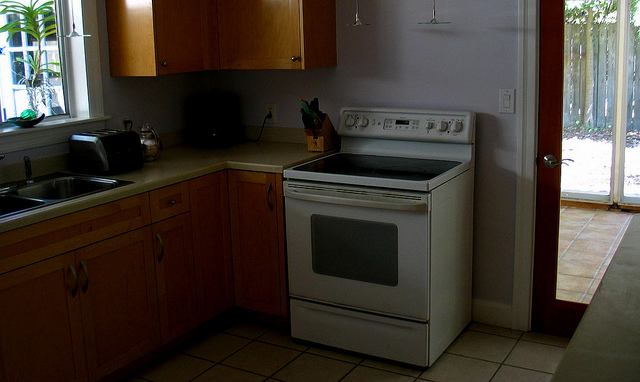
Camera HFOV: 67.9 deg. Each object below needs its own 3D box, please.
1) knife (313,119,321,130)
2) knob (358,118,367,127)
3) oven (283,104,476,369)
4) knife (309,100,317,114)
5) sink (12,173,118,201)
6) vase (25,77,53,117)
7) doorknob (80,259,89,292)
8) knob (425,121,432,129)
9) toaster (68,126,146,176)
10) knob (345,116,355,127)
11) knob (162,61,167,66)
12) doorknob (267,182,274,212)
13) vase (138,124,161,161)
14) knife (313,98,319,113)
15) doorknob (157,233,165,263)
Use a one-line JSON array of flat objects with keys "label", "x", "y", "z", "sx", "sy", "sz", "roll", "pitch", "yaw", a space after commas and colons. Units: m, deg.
[{"label": "knife", "x": -0.024, "y": -0.506, "z": 3.600, "sx": 0.046, "sy": 0.086, "sz": 0.045, "roll": -19, "pitch": -15, "yaw": -8}, {"label": "knob", "x": 0.313, "y": -0.509, "z": 3.562, "sx": 0.056, "sy": 0.101, "sz": 0.060, "roll": 0, "pitch": 0, "yaw": -10}, {"label": "oven", "x": 0.438, "y": 0.243, "z": 3.469, "sx": 1.124, "sy": 1.579, "sz": 1.062, "roll": 4, "pitch": 13, "yaw": 31}, {"label": "knife", "x": -0.054, "y": -0.646, "z": 3.663, "sx": 0.088, "sy": 0.109, "sz": 0.044, "roll": -2, "pitch": -1, "yaw": 34}, {"label": "sink", "x": -1.610, "y": -0.006, "z": 3.122, "sx": 0.633, "sy": 0.145, "sz": 0.283, "roll": -1, "pitch": 19, "yaw": -3}, {"label": "vase", "x": -1.990, "y": -0.667, "z": 3.376, "sx": 0.169, "sy": 0.271, "sz": 0.117, "roll": -10, "pitch": 20, "yaw": -27}, {"label": "doorknob", "x": -1.393, "y": 0.504, "z": 2.808, "sx": 0.044, "sy": 0.195, "sz": 0.037, "roll": -10, "pitch": 20, "yaw": -28}, {"label": "knob", "x": 0.768, "y": -0.465, "z": 3.386, "sx": 0.052, "sy": 0.046, "sz": 0.022, "roll": 15, "pitch": 23, "yaw": 39}, {"label": "toaster", "x": -1.502, "y": -0.259, "z": 3.364, "sx": 0.333, "sy": 0.268, "sz": 0.436, "roll": 2, "pitch": 14, "yaw": 22}, {"label": "knob", "x": 0.226, "y": -0.521, "z": 3.602, "sx": 0.067, "sy": 0.072, "sz": 0.025, "roll": 7, "pitch": 19, "yaw": 21}, {"label": "knob", "x": -1.114, "y": -0.914, "z": 3.410, "sx": 0.010, "sy": 0.031, "sz": 0.043, "roll": 7, "pitch": 20, "yaw": 21}, {"label": "doorknob", "x": -0.350, "y": 0.044, "z": 3.350, "sx": 0.045, "sy": 0.197, "sz": 0.037, "roll": 1, "pitch": 17, "yaw": 3}, {"label": "vase", "x": -1.266, "y": -0.357, "z": 3.509, "sx": 0.187, "sy": 0.242, "sz": 0.184, "roll": 8, "pitch": 20, "yaw": 31}, {"label": "knife", "x": -0.030, "y": -0.668, "z": 3.640, "sx": 0.041, "sy": 0.083, "sz": 0.020, "roll": -5, "pitch": 8, "yaw": -31}, {"label": "doorknob", "x": -1.049, "y": 0.374, "z": 3.121, "sx": 0.058, "sy": 0.195, "sz": 0.032, "roll": -11, "pitch": 20, "yaw": -32}]
